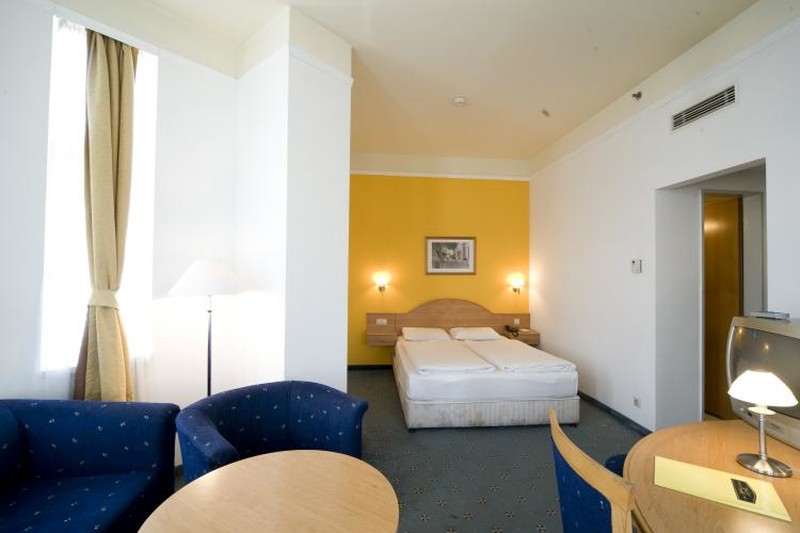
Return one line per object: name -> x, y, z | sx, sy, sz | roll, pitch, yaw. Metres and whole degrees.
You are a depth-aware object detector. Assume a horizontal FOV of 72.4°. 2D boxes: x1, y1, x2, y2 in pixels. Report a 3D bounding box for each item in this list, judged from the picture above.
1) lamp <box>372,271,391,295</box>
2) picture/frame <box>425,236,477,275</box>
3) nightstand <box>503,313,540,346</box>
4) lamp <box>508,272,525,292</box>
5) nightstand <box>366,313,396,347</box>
lamp -> -0.239, 0.248, 7.989 | 0.279, 0.466, 0.288 | 2, 0, 22
picture/frame -> 0.723, -0.152, 8.115 | 0.546, 0.474, 0.046 | 0, 1, -1
nightstand -> 1.765, 0.945, 7.882 | 0.395, 0.538, 0.443 | -1, -6, -15
lamp -> 1.744, 0.245, 8.164 | 0.248, 0.292, 0.074 | -1, 2, 4
nightstand -> -0.301, 0.883, 7.901 | 0.545, 0.546, 0.404 | 0, -7, -6
